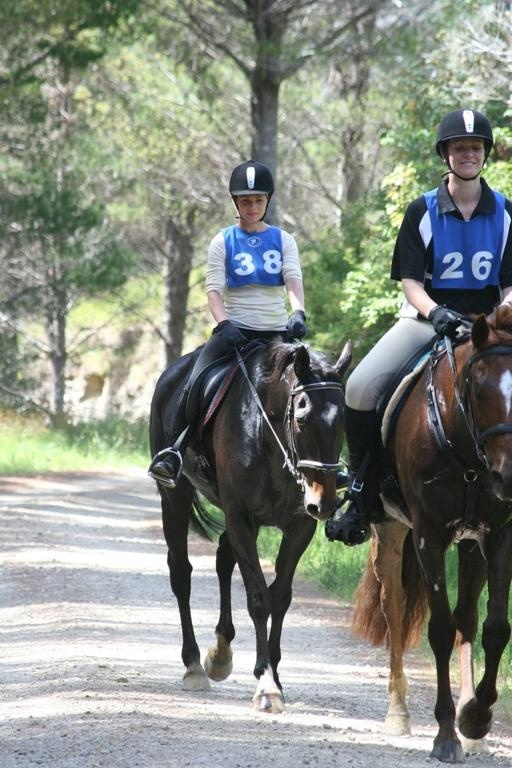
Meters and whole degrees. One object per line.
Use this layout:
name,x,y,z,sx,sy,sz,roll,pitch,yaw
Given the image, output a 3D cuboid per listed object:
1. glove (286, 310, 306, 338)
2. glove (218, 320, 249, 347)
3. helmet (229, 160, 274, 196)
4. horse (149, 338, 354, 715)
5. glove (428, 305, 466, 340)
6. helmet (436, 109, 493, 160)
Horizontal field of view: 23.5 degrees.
glove,0.263,-0.389,8.059,0.114,0.190,0.287,0,3,0
glove,-0.170,-0.338,7.987,0.193,0.061,0.147,41,28,12
helmet,-0.031,-1.390,8.305,0.299,0.248,0.261,0,3,-1
horse,-0.064,0.954,8.389,0.910,2.309,3.510,2,-4,-17
glove,1.030,-0.334,6.671,0.192,0.144,0.095,39,-20,13
helmet,1.189,-1.394,6.917,0.287,0.288,0.384,-1,-2,5
